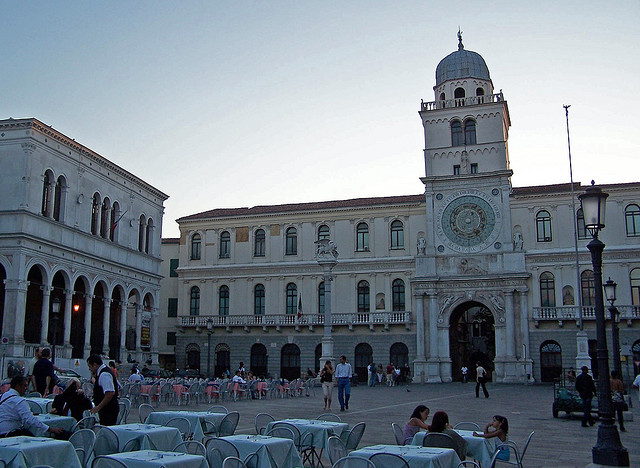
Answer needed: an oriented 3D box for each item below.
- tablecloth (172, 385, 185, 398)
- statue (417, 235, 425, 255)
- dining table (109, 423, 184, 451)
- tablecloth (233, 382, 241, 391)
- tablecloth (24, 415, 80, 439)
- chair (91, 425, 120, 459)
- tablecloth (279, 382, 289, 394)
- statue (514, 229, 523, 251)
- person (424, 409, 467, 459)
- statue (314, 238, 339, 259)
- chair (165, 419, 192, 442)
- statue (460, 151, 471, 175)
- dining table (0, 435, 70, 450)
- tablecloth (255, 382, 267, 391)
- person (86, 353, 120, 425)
[{"bbox_3d":[-5.861,6.335,27.915,0.486,0.327,0.664,-3,-8,20],"label":"tablecloth"},{"bbox_3d":[7.959,0.901,53.217,0.486,1.388,0.412,-3,-14,8],"label":"statue"},{"bbox_3d":[-3.729,4.252,14.289,0.829,0.465,0.864,-9,-16,25],"label":"dining table"},{"bbox_3d":[-3.785,6.905,30.987,0.252,0.507,0.265,-2,-14,-1],"label":"tablecloth"},{"bbox_3d":[-5.769,4.150,14.962,0.686,0.295,0.696,-11,-14,43],"label":"tablecloth"},{"bbox_3d":[-4.316,4.280,14.153,0.565,0.667,0.580,-7,-10,30],"label":"chair"},{"bbox_3d":[-1.865,7.784,34.721,0.373,0.593,1.461,0,-15,-3],"label":"tablecloth"},{"bbox_3d":[14.984,0.363,51.413,0.518,1.805,0.807,-11,-17,36],"label":"statue"},{"bbox_3d":[2.685,4.109,14.302,0.862,1.367,0.940,-1,-3,21],"label":"person"},{"bbox_3d":[0.366,0.758,39.058,0.935,0.892,1.342,-4,-5,39],"label":"statue"},{"bbox_3d":[-3.271,4.591,16.290,0.634,0.670,0.671,-1,-18,7],"label":"chair"},{"bbox_3d":[11.496,-5.756,53.962,0.724,1.823,0.306,-4,-14,12],"label":"statue"},{"bbox_3d":[-5.398,3.904,12.754,1.094,0.207,0.771,-7,-16,23],"label":"dining table"},{"bbox_3d":[-2.917,7.380,33.092,0.405,0.436,0.113,6,-3,13],"label":"tablecloth"},{"bbox_3d":[-4.980,3.560,15.703,0.732,1.584,0.768,6,-15,-27],"label":"person"}]
